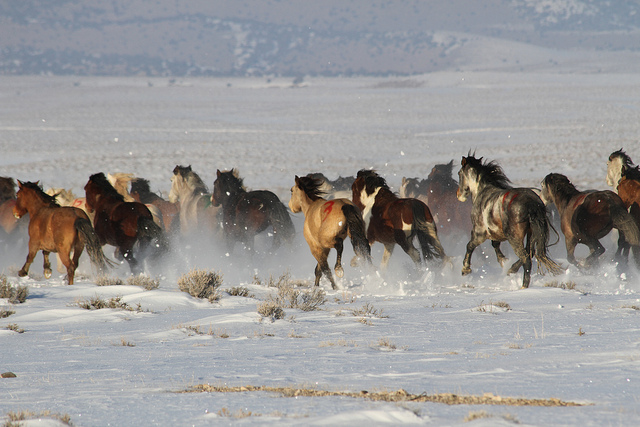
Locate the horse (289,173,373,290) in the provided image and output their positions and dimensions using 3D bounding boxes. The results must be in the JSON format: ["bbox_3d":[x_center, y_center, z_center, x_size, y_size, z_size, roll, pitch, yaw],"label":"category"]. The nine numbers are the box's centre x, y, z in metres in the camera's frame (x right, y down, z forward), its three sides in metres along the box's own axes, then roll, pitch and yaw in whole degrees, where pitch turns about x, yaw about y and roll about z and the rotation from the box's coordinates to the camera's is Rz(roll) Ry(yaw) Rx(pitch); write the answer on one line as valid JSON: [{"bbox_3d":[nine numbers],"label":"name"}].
[{"bbox_3d":[0.310,0.793,41.983,2.801,4.036,1.109,4,16,24],"label":"horse"}]

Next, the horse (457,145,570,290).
[{"bbox_3d":[7.070,0.404,42.442,3.161,5.134,2.811,-4,15,-6],"label":"horse"}]

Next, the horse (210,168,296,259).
[{"bbox_3d":[-2.701,0.412,48.412,2.031,4.343,6.924,-14,15,-34],"label":"horse"}]

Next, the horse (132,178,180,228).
[{"bbox_3d":[-7.129,-0.341,48.984,0.899,2.151,3.444,-20,42,-38],"label":"horse"}]

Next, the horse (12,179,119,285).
[{"bbox_3d":[-9.916,0.840,42.643,3.276,3.877,1.130,1,15,15],"label":"horse"}]
